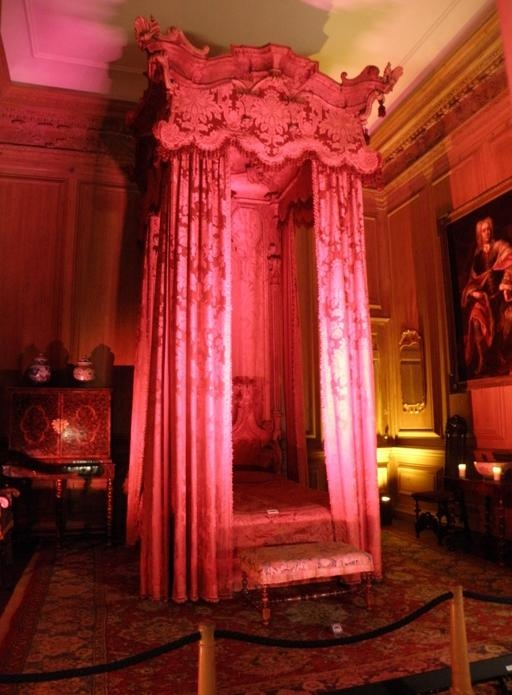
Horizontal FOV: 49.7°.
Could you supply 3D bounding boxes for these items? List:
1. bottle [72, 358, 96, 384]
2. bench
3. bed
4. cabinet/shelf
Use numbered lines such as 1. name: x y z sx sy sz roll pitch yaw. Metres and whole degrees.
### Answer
1. bottle: -1.653 0.237 5.367 0.237 0.321 0.240 0 -7 0
2. bench: 0.383 1.466 3.423 0.685 0.339 0.947 -7 -20 1
3. bed: -0.094 -0.599 4.389 1.781 4.500 2.469 0 -7 -15
4. cabinet/shelf: -1.806 1.079 5.122 0.928 1.411 0.542 0 -7 -16
